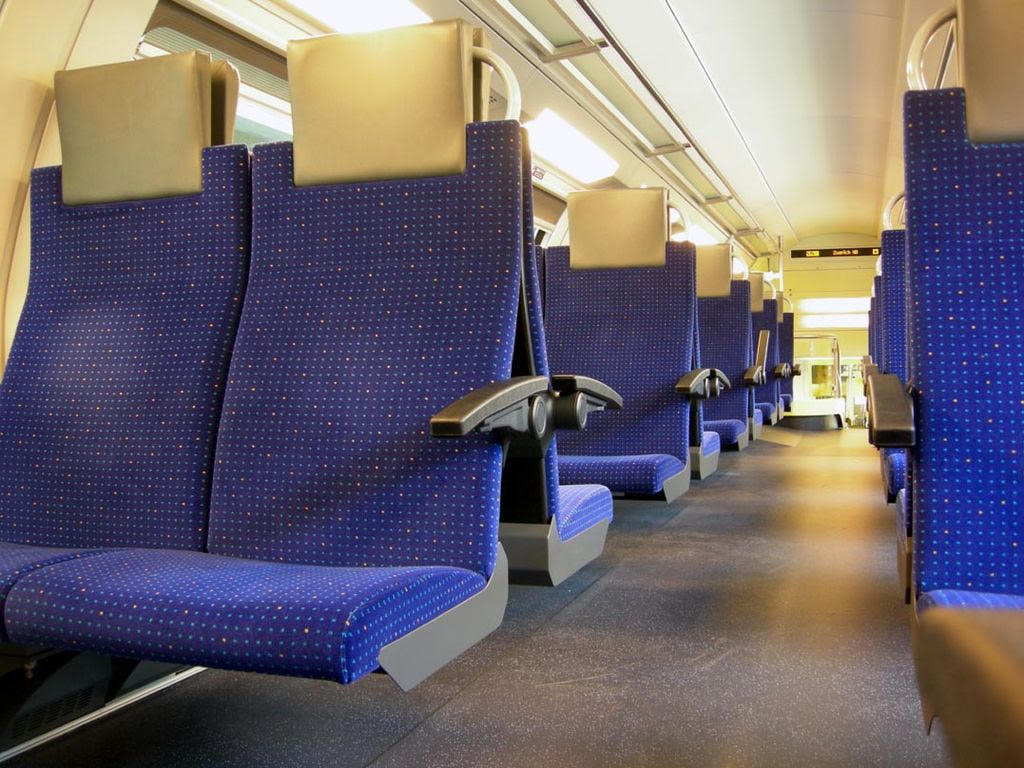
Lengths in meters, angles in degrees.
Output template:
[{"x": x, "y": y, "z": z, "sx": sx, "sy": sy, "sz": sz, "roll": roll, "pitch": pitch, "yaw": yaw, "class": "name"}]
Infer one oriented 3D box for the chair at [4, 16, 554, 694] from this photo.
[{"x": -0.500, "y": -0.193, "z": 1.907, "sx": 1.032, "sy": 1.145, "sz": 0.977, "roll": -1, "pitch": 0, "yaw": 19, "class": "chair"}]
